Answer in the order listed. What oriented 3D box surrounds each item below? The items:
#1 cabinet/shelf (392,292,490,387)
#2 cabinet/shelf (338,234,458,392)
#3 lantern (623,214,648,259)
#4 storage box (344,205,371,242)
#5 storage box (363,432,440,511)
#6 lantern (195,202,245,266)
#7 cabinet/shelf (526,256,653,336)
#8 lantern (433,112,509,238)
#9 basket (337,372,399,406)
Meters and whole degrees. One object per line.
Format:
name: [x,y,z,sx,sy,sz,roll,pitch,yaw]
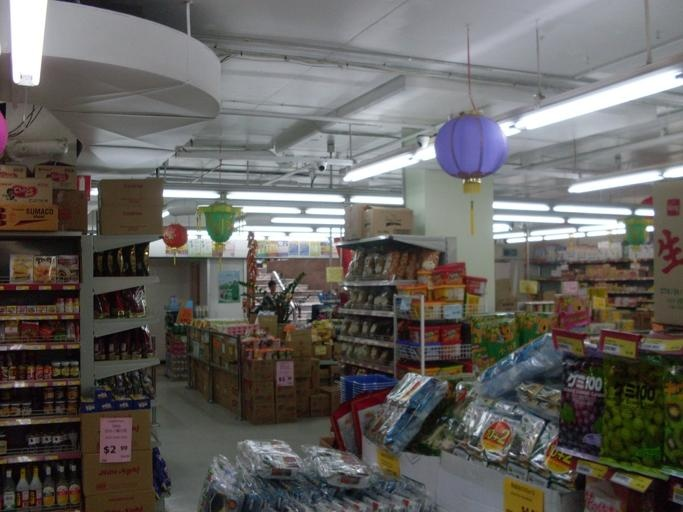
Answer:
cabinet/shelf: [1.139,1.042,7.038,0.803,1.106,0.606,1,-5,6]
cabinet/shelf: [0.898,0.648,7.865,0.828,1.849,1.884,-14,4,-24]
lantern: [5.441,-0.309,10.785,0.465,0.805,0.524,0,-9,2]
storage box: [0.212,-0.483,8.415,0.295,0.525,0.394,-5,-5,18]
storage box: [0.383,1.331,3.578,0.250,0.414,0.738,0,0,-29]
lantern: [-2.107,-0.399,10.205,0.860,1.198,0.782,3,-2,-41]
cabinet/shelf: [6.728,1.362,15.131,2.727,0.440,1.752,-7,39,29]
lantern: [1.212,-0.847,5.413,0.660,0.968,0.687,3,-6,-14]
basket: [0.207,1.081,4.604,0.298,0.230,0.608,0,0,-21]
